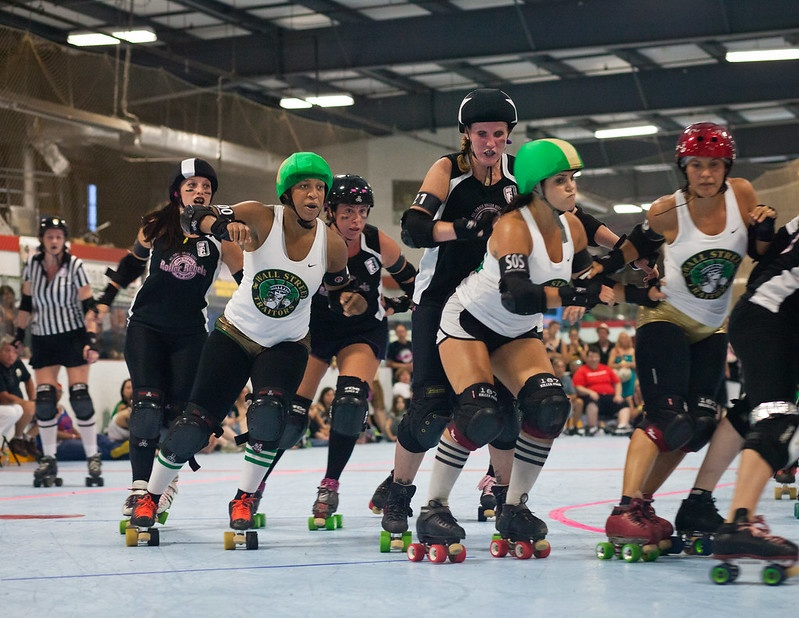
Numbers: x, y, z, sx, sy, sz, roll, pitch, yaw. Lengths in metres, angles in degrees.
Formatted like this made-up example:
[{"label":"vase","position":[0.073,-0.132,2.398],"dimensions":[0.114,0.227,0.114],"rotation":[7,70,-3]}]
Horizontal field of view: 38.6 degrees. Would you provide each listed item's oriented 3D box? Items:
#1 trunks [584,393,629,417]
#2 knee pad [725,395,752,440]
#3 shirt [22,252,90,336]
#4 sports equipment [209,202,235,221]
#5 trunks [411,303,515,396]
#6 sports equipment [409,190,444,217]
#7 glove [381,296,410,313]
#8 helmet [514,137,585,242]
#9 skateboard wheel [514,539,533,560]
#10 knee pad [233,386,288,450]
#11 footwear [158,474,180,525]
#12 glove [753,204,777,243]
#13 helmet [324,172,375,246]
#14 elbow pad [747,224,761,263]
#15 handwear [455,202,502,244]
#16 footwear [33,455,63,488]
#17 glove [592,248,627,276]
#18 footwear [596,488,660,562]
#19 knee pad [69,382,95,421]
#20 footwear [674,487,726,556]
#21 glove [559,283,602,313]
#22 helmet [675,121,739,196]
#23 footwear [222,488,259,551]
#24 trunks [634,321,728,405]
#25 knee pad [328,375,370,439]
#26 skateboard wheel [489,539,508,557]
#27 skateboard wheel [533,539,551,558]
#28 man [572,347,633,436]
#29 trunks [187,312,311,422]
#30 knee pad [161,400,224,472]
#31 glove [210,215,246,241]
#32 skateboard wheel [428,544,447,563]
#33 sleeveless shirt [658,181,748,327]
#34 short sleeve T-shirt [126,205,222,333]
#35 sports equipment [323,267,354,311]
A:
[{"label":"trunks","position":[3.167,1.472,17.595],"dimensions":[0.451,0.154,0.473],"rotation":[4,5,35]},{"label":"knee pad","position":[2.060,0.641,6.938],"dimensions":[0.080,0.223,0.165],"rotation":[-5,-2,-1]},{"label":"shirt","position":[-3.289,-0.153,10.911],"dimensions":[0.812,0.896,0.495],"rotation":[0,-3,-7]},{"label":"sports equipment","position":[-1.126,-0.636,7.266],"dimensions":[0.115,0.115,0.112],"rotation":[-15,7,9]},{"label":"trunks","position":[0.459,0.313,7.579],"dimensions":[0.660,0.839,0.451],"rotation":[5,-19,-36]},{"label":"sports equipment","position":[0.176,-0.687,7.324],"dimensions":[0.150,0.139,0.185],"rotation":[29,-10,48]},{"label":"glove","position":[-0.039,-0.047,8.837],"dimensions":[0.307,0.101,0.081],"rotation":[19,-3,-43]},{"label":"helmet","position":[0.860,-0.872,6.966],"dimensions":[0.393,0.307,0.334],"rotation":[-18,-6,22]},{"label":"skateboard wheel","position":[0.767,1.485,7.051],"dimensions":[0.060,0.102,0.101],"rotation":[-1,-17,-41]},{"label":"knee pad","position":[-0.876,0.734,7.458],"dimensions":[0.334,0.399,0.169],"rotation":[18,8,3]},{"label":"footwear","position":[-1.656,1.392,8.340],"dimensions":[0.145,0.181,0.423],"rotation":[14,21,-6]},{"label":"glove","position":[2.231,-0.530,6.976],"dimensions":[0.078,0.203,0.149],"rotation":[6,-6,-43]},{"label":"helmet","position":[-0.319,-0.718,8.071],"dimensions":[0.335,0.443,0.449],"rotation":[3,-9,-13]},{"label":"elbow pad","position":[2.177,-0.425,7.066],"dimensions":[0.064,0.175,0.129],"rotation":[-4,26,-6]},{"label":"handwear","position":[0.473,-0.538,7.223],"dimensions":[0.208,0.080,0.268],"rotation":[-33,0,5]},{"label":"footwear","position":[-3.313,1.532,10.722],"dimensions":[0.208,0.330,0.325],"rotation":[-3,-11,14]},{"label":"glove","position":[1.311,-0.279,7.225],"dimensions":[0.232,0.098,0.142],"rotation":[-20,37,5]},{"label":"footwear","position":[1.442,1.338,6.973],"dimensions":[0.374,0.361,0.352],"rotation":[-2,-4,30]},{"label":"knee pad","position":[-2.967,0.853,10.640],"dimensions":[0.207,0.353,0.137],"rotation":[-20,14,-7]},{"label":"footwear","position":[1.839,1.329,7.055],"dimensions":[0.446,0.451,0.261],"rotation":[0,-5,19]},{"label":"glove","position":[1.071,-0.075,6.842],"dimensions":[0.230,0.138,0.097],"rotation":[6,-31,-15]},{"label":"helmet","position":[1.897,-0.979,7.232],"dimensions":[0.359,0.441,0.466],"rotation":[2,-5,7]},{"label":"footwear","position":[-1.037,1.378,7.535],"dimensions":[0.221,0.342,0.553],"rotation":[3,-3,-7]},{"label":"trunks","position":[1.798,0.396,7.385],"dimensions":[0.689,0.585,0.400],"rotation":[8,-7,-29]},{"label":"knee pad","position":[-0.358,0.690,8.138],"dimensions":[0.275,0.418,0.179],"rotation":[8,23,1]},{"label":"skateboard wheel","position":[0.620,1.495,7.119],"dimensions":[0.064,0.114,0.112],"rotation":[5,-3,-33]},{"label":"skateboard wheel","position":[0.868,1.477,7.017],"dimensions":[0.098,0.122,0.111],"rotation":[-1,-7,-11]},{"label":"man","position":[3.079,1.242,17.611],"dimensions":[0.813,1.442,0.854],"rotation":[3,-12,-31]},{"label":"trunks","position":[-1.002,0.362,7.481],"dimensions":[0.514,0.684,0.263],"rotation":[27,-1,-14]},{"label":"knee pad","position":[-1.380,0.814,7.406],"dimensions":[0.392,0.407,0.174],"rotation":[2,-3,15]},{"label":"glove","position":[-1.072,-0.498,7.061],"dimensions":[0.194,0.090,0.146],"rotation":[14,-2,14]},{"label":"skateboard wheel","position":[0.233,1.491,6.939],"dimensions":[0.063,0.114,0.112],"rotation":[0,0,-32]},{"label":"sleeveless shirt","position":[1.922,-0.376,7.294],"dimensions":[0.614,0.976,0.580],"rotation":[-13,9,-36]},{"label":"short sleeve T-shirt","position":[-1.587,-0.263,8.171],"dimensions":[0.623,0.816,0.474],"rotation":[4,22,-26]},{"label":"sports equipment","position":[-0.390,-0.150,7.824],"dimensions":[0.210,0.288,0.107],"rotation":[-10,15,33]}]
